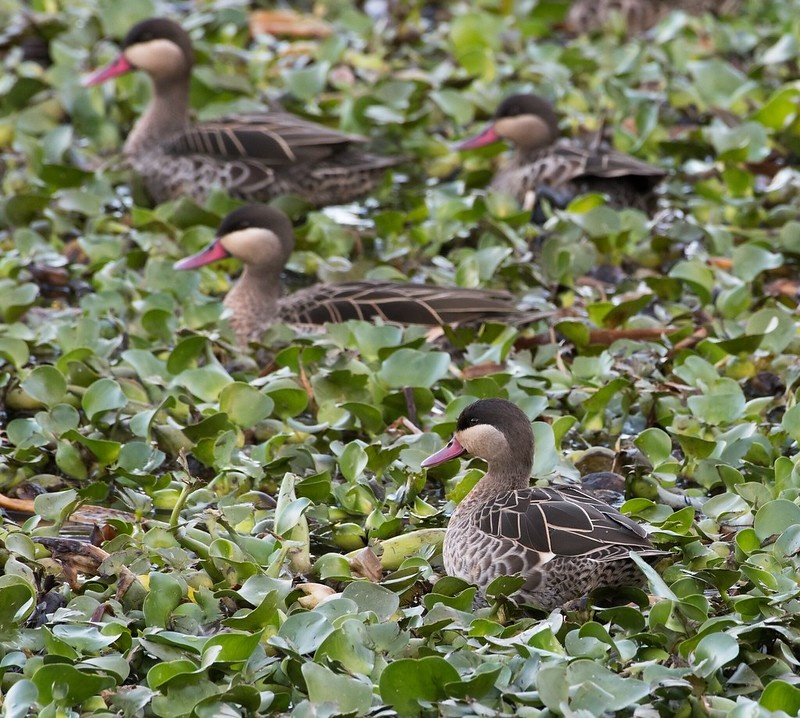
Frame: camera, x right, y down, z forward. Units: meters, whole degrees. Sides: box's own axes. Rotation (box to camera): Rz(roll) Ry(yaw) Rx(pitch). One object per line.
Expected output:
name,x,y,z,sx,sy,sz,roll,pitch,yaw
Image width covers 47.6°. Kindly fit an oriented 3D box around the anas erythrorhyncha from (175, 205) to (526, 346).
anas erythrorhyncha,-0.161,-0.308,3.987,1.705,0.517,0.401,2,26,-23
